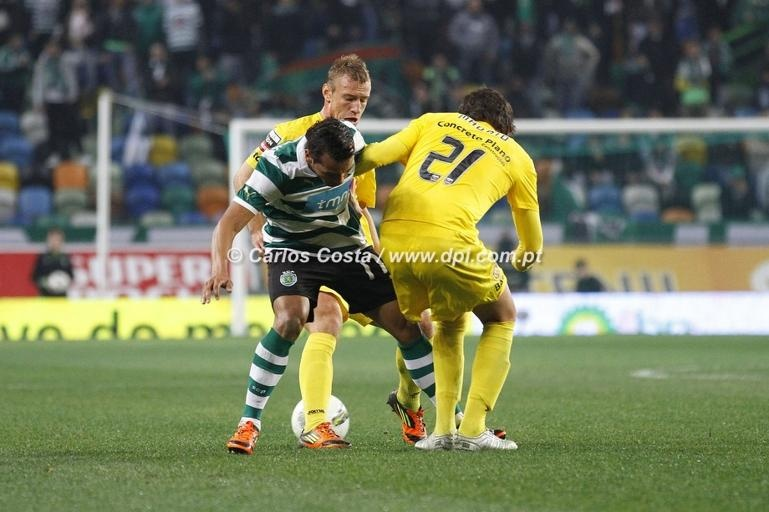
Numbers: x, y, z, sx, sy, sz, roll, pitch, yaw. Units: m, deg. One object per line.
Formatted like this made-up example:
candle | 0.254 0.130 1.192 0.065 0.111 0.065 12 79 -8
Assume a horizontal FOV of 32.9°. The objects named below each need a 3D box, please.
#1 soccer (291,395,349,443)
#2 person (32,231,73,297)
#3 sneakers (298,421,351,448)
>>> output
soccer | -0.703 1.849 14.866 0.567 0.600 0.527 0 -1 2
person | -4.542 0.157 17.870 0.389 0.348 1.099 -15 38 -7
sneakers | -0.665 2.042 14.625 0.519 0.216 0.247 -2 -7 17
